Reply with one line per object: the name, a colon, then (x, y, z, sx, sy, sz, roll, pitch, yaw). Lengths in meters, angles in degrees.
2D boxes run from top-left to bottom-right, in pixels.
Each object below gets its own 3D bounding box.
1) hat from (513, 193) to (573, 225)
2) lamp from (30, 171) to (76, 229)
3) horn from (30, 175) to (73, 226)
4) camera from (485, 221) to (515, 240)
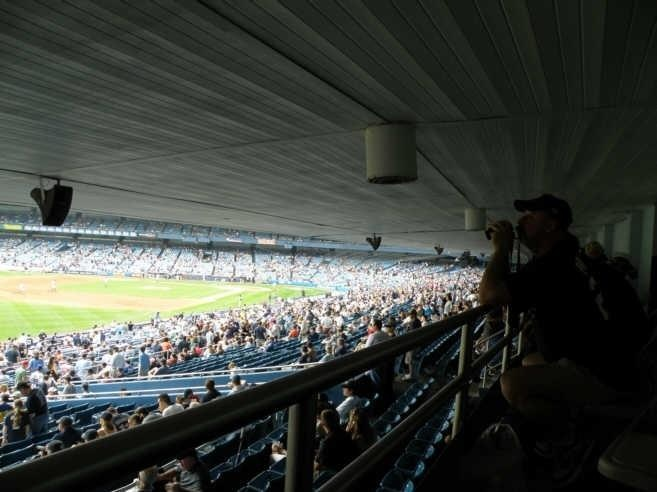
hat: (1.233, -0.222, 2.148, 0.308, 0.137, 0.195, 29, 4, 25)
lamp: (-4.122, -0.682, 5.926, 0.588, 0.800, 0.571, 5, -4, 33)
horn: (-4.125, -0.656, 5.941, 0.594, 0.757, 0.580, 4, -3, 35)
camera: (1.035, -0.081, 2.322, 0.182, 0.147, 0.064, -3, 22, 14)
